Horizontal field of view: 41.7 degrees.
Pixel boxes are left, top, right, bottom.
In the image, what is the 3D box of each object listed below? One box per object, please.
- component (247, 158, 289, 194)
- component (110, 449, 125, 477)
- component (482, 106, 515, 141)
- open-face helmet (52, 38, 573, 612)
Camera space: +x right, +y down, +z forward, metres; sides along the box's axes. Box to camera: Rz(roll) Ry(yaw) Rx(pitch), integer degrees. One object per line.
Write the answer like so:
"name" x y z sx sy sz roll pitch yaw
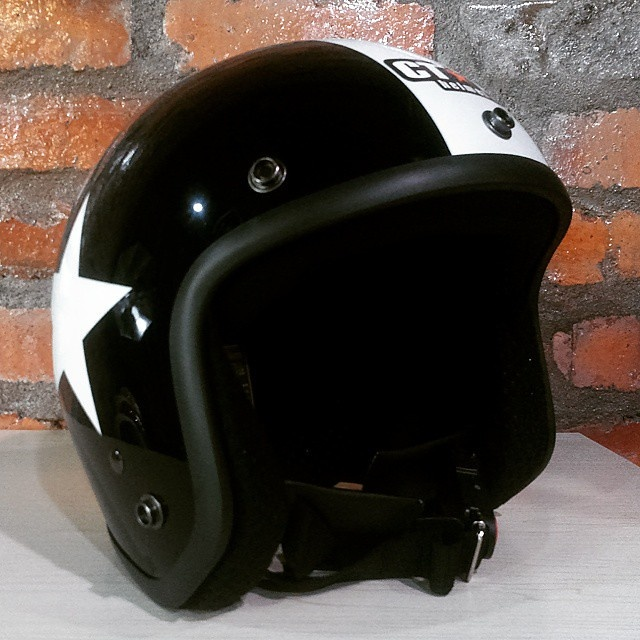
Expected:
"component" -0.038 -0.106 0.621 0.036 0.007 0.026 -3 88 6
"component" -0.160 0.114 0.665 0.018 0.006 0.018 -1 93 2
"component" 0.139 -0.153 0.657 0.030 0.032 0.011 47 120 18
"open-face helmet" -0.017 0.007 0.900 0.483 0.571 0.413 6 89 -39
